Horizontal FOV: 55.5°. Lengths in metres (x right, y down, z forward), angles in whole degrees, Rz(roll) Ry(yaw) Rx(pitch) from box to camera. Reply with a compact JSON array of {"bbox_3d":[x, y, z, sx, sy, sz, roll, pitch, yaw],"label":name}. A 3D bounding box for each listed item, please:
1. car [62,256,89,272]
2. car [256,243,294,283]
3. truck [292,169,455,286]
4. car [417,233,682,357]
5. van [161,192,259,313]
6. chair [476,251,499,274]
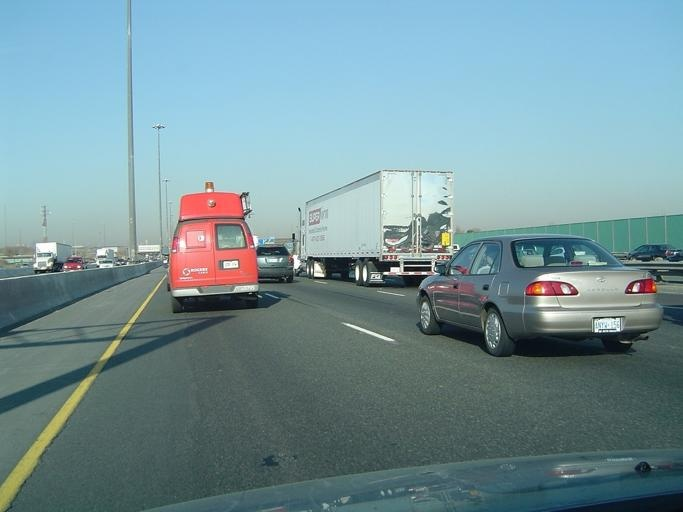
[{"bbox_3d":[-28.028,0.704,67.961,1.620,1.110,2.820,-1,-7,-3],"label":"car"},{"bbox_3d":[-3.153,0.203,30.061,1.625,1.496,0.984,-3,4,-16],"label":"car"},{"bbox_3d":[1.367,-1.065,28.399,3.546,3.114,8.657,0,-3,-17],"label":"truck"},{"bbox_3d":[2.881,0.580,10.174,1.648,1.867,3.317,-4,4,-27],"label":"car"},{"bbox_3d":[-3.355,-0.159,16.892,2.186,3.284,1.375,-3,4,-10],"label":"van"},{"bbox_3d":[2.317,0.120,10.260,0.223,0.182,0.340,4,50,14],"label":"chair"}]
